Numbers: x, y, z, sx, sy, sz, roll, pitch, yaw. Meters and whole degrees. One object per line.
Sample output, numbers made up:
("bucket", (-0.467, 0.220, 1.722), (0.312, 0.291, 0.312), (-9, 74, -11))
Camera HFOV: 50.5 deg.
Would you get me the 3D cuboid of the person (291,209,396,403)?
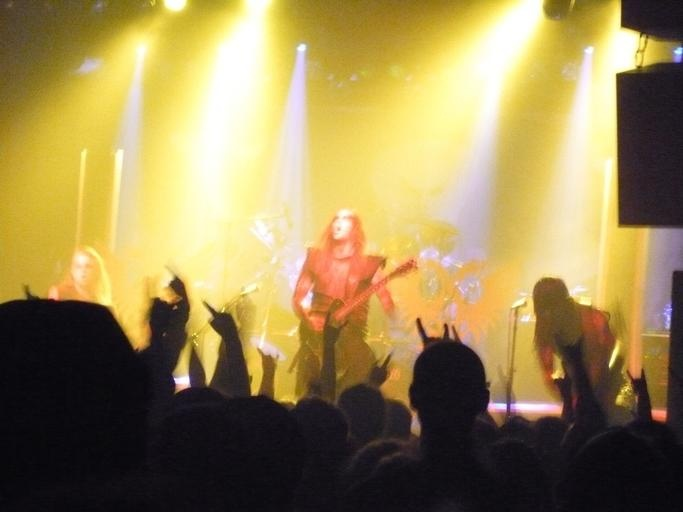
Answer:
("person", (-0.029, 0.726, 6.733), (0.909, 2.230, 0.602), (6, 18, 6))
